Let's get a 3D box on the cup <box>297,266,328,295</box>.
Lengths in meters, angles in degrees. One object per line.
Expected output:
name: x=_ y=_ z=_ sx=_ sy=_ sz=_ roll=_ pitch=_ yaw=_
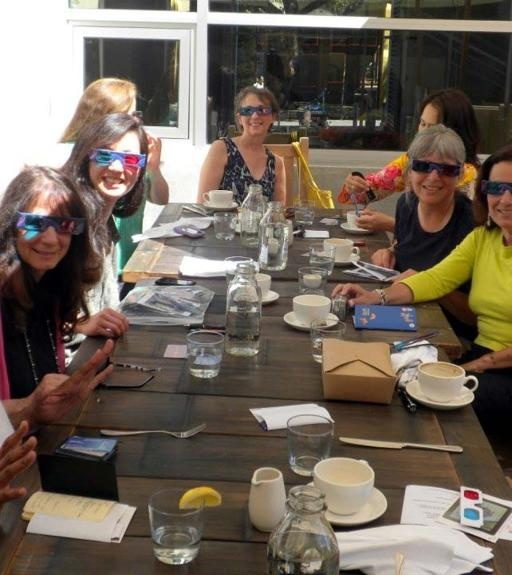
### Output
cup: x=0.221 y=-0.024 z=1.912 sx=0.110 sy=0.084 sz=0.109 roll=1 pitch=6 yaw=0

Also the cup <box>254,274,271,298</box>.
cup: x=0.030 y=-0.005 z=1.859 sx=0.078 sy=0.077 sz=0.083 roll=0 pitch=13 yaw=0

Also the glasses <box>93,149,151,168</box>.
glasses: x=-0.659 y=-0.645 z=2.476 sx=0.150 sy=0.114 sz=0.308 roll=10 pitch=23 yaw=31

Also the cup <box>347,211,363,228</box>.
cup: x=0.581 y=-0.399 z=2.913 sx=0.085 sy=0.071 sz=0.089 roll=-1 pitch=9 yaw=0

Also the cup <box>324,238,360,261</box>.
cup: x=0.410 y=-0.183 z=2.381 sx=0.154 sy=0.086 sz=0.116 roll=-4 pitch=6 yaw=-40

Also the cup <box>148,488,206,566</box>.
cup: x=-0.100 y=0.334 z=0.712 sx=0.088 sy=0.090 sz=0.090 roll=2 pitch=17 yaw=0

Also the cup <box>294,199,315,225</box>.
cup: x=0.286 y=-0.462 z=3.100 sx=0.134 sy=0.143 sz=0.149 roll=-1 pitch=9 yaw=1

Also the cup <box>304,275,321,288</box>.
cup: x=0.217 y=-0.024 z=1.897 sx=0.054 sy=0.035 sz=0.057 roll=2 pitch=10 yaw=0

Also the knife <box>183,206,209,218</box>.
knife: x=-0.397 y=-0.510 z=3.211 sx=0.077 sy=0.046 sz=0.252 roll=8 pitch=10 yaw=-36

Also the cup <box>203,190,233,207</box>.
cup: x=-0.251 y=-0.581 z=3.240 sx=0.164 sy=0.077 sz=0.124 roll=-1 pitch=22 yaw=10

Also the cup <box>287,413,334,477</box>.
cup: x=0.098 y=0.288 z=0.914 sx=0.099 sy=0.101 sz=0.105 roll=2 pitch=14 yaw=0

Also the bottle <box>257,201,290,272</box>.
bottle: x=0.080 y=-0.244 z=2.340 sx=0.146 sy=0.268 sz=0.308 roll=-2 pitch=20 yaw=2

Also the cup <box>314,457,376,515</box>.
cup: x=0.145 y=0.316 z=0.797 sx=0.100 sy=0.065 sz=0.117 roll=-1 pitch=17 yaw=3

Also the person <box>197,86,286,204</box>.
person: x=-0.141 y=-1.035 z=3.639 sx=0.393 sy=0.836 sz=0.687 roll=17 pitch=28 yaw=42

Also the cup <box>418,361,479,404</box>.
cup: x=0.471 y=0.243 z=1.216 sx=0.131 sy=0.064 sz=0.097 roll=4 pitch=14 yaw=8

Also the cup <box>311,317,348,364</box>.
cup: x=0.195 y=0.158 z=1.484 sx=0.107 sy=0.114 sz=0.118 roll=8 pitch=20 yaw=-4

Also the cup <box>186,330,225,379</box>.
cup: x=-0.125 y=0.172 z=1.371 sx=0.123 sy=0.120 sz=0.114 roll=1 pitch=13 yaw=0

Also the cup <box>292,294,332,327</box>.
cup: x=0.188 y=0.066 z=1.652 sx=0.111 sy=0.071 sz=0.112 roll=0 pitch=17 yaw=0

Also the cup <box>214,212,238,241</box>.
cup: x=-0.168 y=-0.337 z=2.693 sx=0.151 sy=0.154 sz=0.145 roll=1 pitch=13 yaw=0
